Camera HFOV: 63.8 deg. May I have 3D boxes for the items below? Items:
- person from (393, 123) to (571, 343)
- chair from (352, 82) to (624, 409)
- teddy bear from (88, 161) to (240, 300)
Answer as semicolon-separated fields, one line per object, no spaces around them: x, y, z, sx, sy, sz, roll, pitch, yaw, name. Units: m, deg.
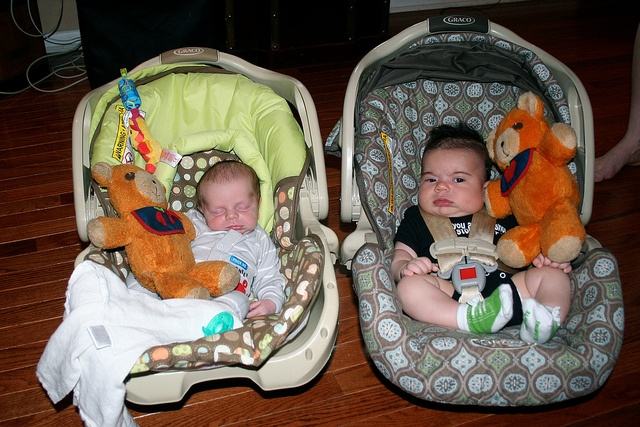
0.610;0.066;2.123;0.725;0.476;1.121;-3;32;7;person
0.599;0.022;2.149;1.092;0.579;1.515;-1;47;-2;chair
-0.581;0.055;1.978;0.547;0.496;0.513;5;8;-6;teddy bear
